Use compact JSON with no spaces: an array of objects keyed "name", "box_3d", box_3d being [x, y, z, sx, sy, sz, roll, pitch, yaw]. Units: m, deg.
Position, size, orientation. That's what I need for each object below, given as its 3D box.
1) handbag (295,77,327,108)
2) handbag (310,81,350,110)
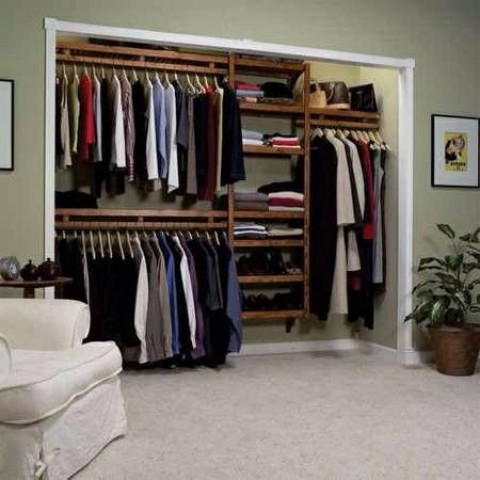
[{"name":"handbag","box_3d":[0.598,-1.226,4.209,0.291,0.344,0.125,-1,1,-15]},{"name":"handbag","box_3d":[0.766,-1.231,4.272,0.264,0.231,0.220,-1,10,0]}]
